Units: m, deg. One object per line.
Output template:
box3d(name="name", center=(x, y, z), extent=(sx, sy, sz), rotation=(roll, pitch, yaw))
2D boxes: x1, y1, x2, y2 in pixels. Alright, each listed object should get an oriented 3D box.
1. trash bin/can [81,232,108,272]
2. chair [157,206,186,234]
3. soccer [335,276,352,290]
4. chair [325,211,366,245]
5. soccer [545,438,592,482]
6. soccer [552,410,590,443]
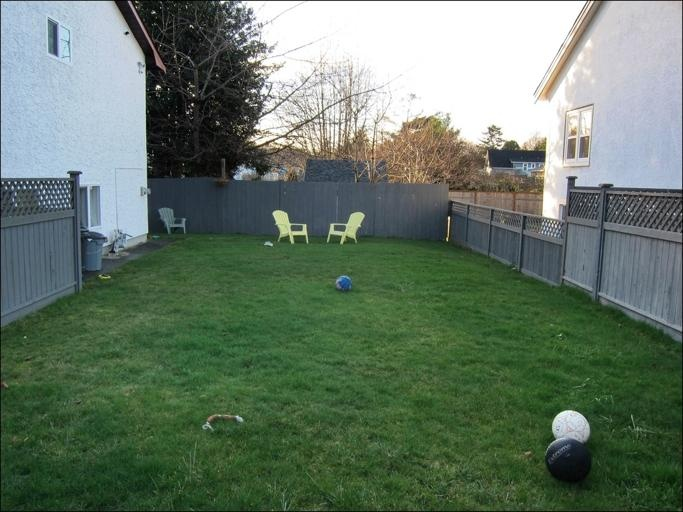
box3d(name="trash bin/can", center=(-5.664, -0.125, 10.183), extent=(0.702, 0.860, 0.631), rotation=(-1, 6, -42))
box3d(name="chair", center=(-6.688, -1.351, 17.854), extent=(0.889, 1.234, 1.159), rotation=(-11, 21, -43))
box3d(name="soccer", center=(0.063, 0.518, 8.815), extent=(0.285, 0.256, 0.374), rotation=(6, 13, 24))
box3d(name="chair", center=(-0.036, -1.056, 16.769), extent=(1.213, 1.128, 1.073), rotation=(1, 5, -24))
box3d(name="soccer", center=(1.821, 1.615, 3.616), extent=(0.345, 0.321, 0.194), rotation=(5, 13, 22))
box3d(name="soccer", center=(1.995, 1.473, 3.954), extent=(0.263, 0.169, 0.291), rotation=(-15, 34, -3))
